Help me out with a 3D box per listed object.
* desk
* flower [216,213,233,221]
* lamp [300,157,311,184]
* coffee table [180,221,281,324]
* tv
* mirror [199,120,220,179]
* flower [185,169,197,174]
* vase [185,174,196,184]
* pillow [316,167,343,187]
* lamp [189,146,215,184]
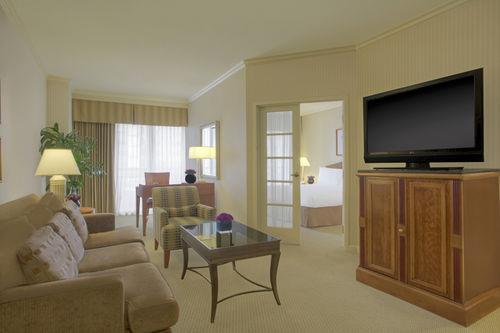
[{"bbox_3d":[-1.472,1.044,6.553,1.525,1.123,0.872,1,-3,-24],"label":"desk"},{"bbox_3d":[-0.324,0.625,4.253,0.195,0.104,0.171,-1,1,-19],"label":"flower"},{"bbox_3d":[1.414,0.135,9.157,0.341,0.688,0.345,0,6,-26],"label":"lamp"},{"bbox_3d":[-0.238,1.138,4.023,0.844,0.893,1.084,-1,2,-31],"label":"coffee table"},{"bbox_3d":[2.003,-0.521,3.948,0.322,0.961,1.249,-6,3,-44],"label":"tv"},{"bbox_3d":[-0.812,-0.363,6.931,0.059,1.437,1.155,-1,-1,-23],"label":"mirror"},{"bbox_3d":[-1.166,0.102,6.700,0.138,0.085,0.142,-1,-4,40],"label":"flower"},{"bbox_3d":[-1.162,0.243,6.698,0.169,0.127,0.169,3,-1,-44],"label":"vase"},{"bbox_3d":[1.767,0.209,7.740,0.159,0.402,0.592,22,-11,-30],"label":"pillow"},{"bbox_3d":[-0.940,-0.029,6.968,0.600,0.733,0.631,2,2,29],"label":"lamp"}]
